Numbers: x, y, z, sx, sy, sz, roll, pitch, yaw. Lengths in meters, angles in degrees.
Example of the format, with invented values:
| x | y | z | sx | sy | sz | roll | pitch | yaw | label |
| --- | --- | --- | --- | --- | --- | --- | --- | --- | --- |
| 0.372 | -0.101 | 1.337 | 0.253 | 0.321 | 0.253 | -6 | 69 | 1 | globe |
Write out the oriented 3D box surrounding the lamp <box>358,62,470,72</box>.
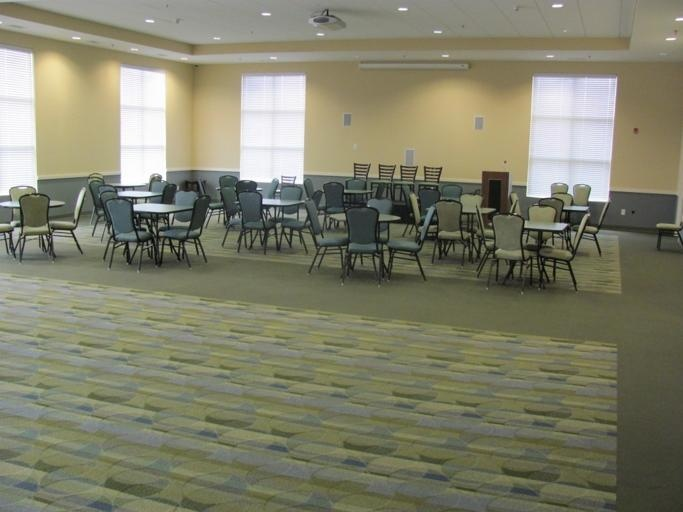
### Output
| x | y | z | sx | sy | sz | roll | pitch | yaw | label |
| --- | --- | --- | --- | --- | --- | --- | --- | --- | --- |
| 2.038 | -5.128 | 13.454 | 2.962 | 0.262 | 0.200 | 5 | 15 | 15 | lamp |

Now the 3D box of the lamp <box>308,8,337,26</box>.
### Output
| x | y | z | sx | sy | sz | roll | pitch | yaw | label |
| --- | --- | --- | --- | --- | --- | --- | --- | --- | --- |
| -0.306 | -4.508 | 9.460 | 0.427 | 0.168 | 0.498 | 0 | -2 | 3 | lamp |
